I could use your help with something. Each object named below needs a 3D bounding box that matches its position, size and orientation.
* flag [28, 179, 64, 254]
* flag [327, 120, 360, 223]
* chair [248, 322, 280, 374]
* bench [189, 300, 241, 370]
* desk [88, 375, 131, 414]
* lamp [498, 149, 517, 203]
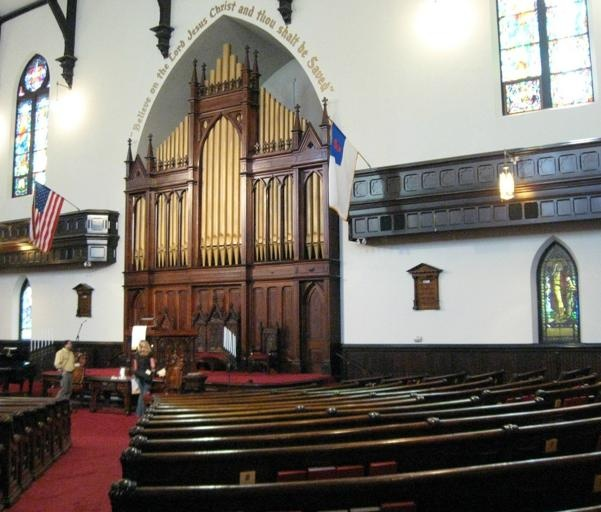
[{"bbox_3d":[-6.636,-1.067,16.945,0.851,1.864,0.286,-2,-5,4],"label":"flag"},{"bbox_3d":[0.758,-1.583,12.433,0.327,1.753,1.010,-3,-5,19],"label":"flag"},{"bbox_3d":[-0.782,1.994,14.132,0.642,1.015,0.625,-2,-5,8],"label":"chair"},{"bbox_3d":[-1.992,1.848,14.963,1.365,1.522,0.587,-5,-6,35],"label":"bench"},{"bbox_3d":[-3.800,2.832,13.454,1.121,0.815,0.646,1,4,17],"label":"desk"},{"bbox_3d":[3.497,-1.388,11.154,0.256,0.720,0.200,-4,-2,32],"label":"lamp"}]
